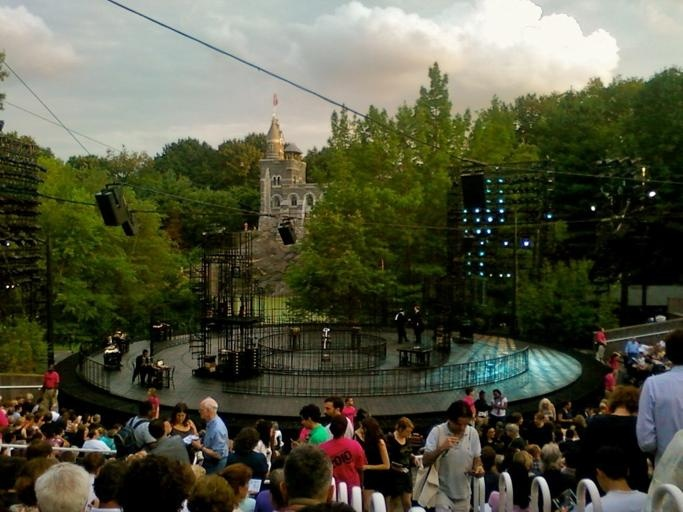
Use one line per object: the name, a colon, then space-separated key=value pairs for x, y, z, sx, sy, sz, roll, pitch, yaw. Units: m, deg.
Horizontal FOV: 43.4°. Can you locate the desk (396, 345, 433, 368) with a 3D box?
desk: x=3.488 y=4.854 z=40.916 sx=1.169 sy=0.660 sz=1.130 roll=-2 pitch=2 yaw=-26

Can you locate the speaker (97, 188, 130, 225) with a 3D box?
speaker: x=-7.871 y=-1.695 z=29.126 sx=1.175 sy=1.296 sz=0.541 roll=4 pitch=-5 yaw=-34

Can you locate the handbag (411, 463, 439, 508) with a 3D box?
handbag: x=2.306 y=6.282 z=23.583 sx=0.690 sy=1.195 sz=0.222 roll=1 pitch=-4 yaw=5

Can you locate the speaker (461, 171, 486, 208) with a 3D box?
speaker: x=4.862 y=-2.437 z=31.913 sx=0.821 sy=1.260 sz=0.703 roll=1 pitch=-4 yaw=15
